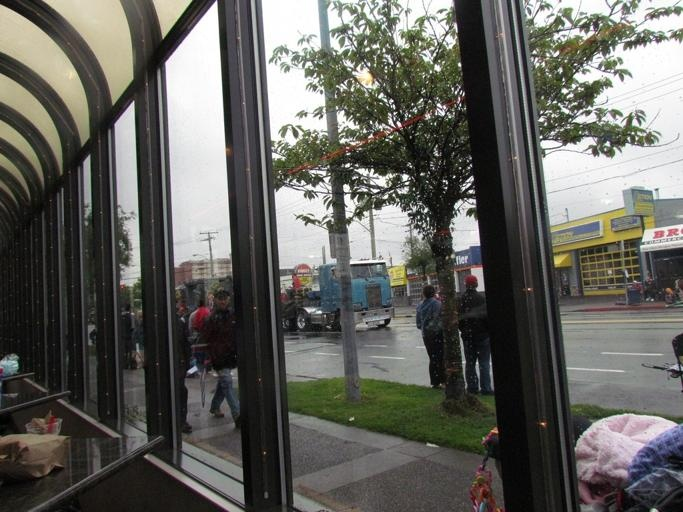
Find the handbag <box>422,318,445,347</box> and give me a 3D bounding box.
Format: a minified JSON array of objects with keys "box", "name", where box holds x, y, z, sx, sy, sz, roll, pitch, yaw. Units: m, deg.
[{"box":[0.375,0.304,2.010,0.027,0.076,0.091,-2,-5,-41],"name":"handbag"}]
